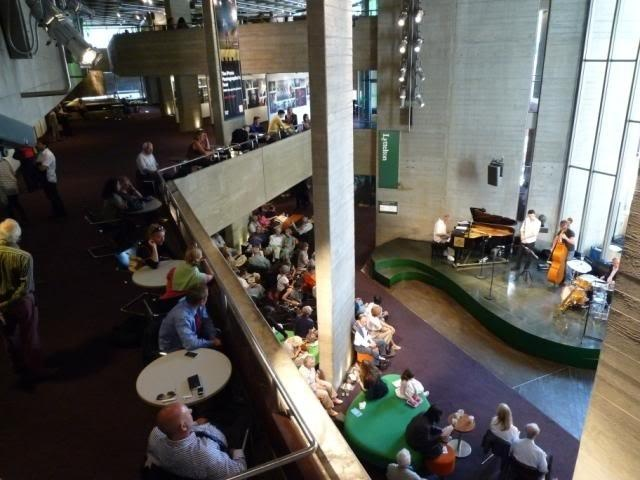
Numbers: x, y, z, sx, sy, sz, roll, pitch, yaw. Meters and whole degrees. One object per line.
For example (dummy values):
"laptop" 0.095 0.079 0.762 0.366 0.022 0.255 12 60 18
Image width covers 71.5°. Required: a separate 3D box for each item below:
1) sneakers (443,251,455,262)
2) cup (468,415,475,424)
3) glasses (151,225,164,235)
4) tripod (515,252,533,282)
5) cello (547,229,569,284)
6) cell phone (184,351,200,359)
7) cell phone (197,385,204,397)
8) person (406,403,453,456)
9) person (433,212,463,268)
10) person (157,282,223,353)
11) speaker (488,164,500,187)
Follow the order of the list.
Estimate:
"sneakers" 3.824 0.486 13.152 0.109 0.330 0.234 2 7 -15
"cup" 2.491 2.961 7.330 0.075 0.077 0.208 5 23 18
"glasses" -2.482 -0.163 6.762 0.153 0.049 0.156 -9 12 -5
"tripod" 5.616 0.769 12.264 0.362 0.749 0.525 8 21 28
"cello" 6.199 0.481 11.583 0.619 1.629 0.270 -37 38 -28
"cell phone" -1.381 1.224 4.756 0.144 0.024 0.091 9 25 24
"cell phone" -1.154 1.460 4.282 0.060 0.021 0.136 -6 23 -11
"person" 1.744 2.952 7.018 0.559 0.875 0.634 -8 22 -6
"person" 3.709 -0.080 13.018 0.351 1.249 0.893 0 5 6
"person" -1.424 0.919 5.233 0.713 0.916 0.699 8 16 -8
"speaker" 5.068 -1.915 13.001 0.425 0.614 0.321 17 32 40
